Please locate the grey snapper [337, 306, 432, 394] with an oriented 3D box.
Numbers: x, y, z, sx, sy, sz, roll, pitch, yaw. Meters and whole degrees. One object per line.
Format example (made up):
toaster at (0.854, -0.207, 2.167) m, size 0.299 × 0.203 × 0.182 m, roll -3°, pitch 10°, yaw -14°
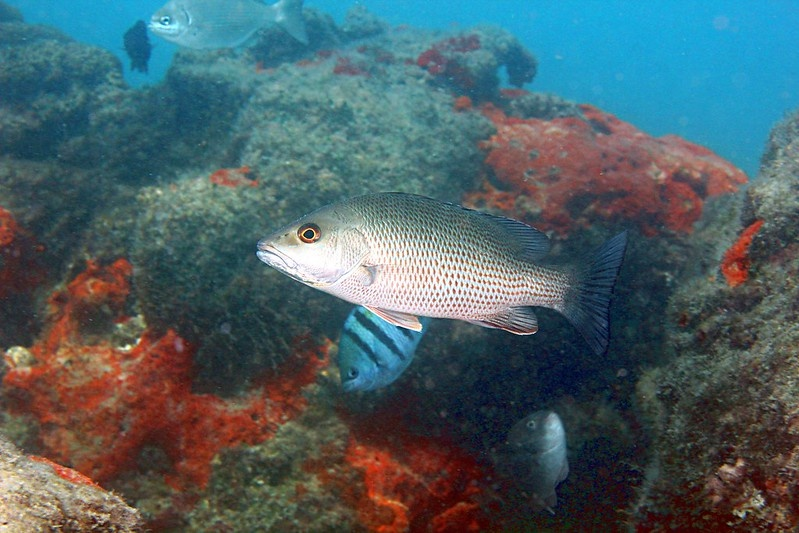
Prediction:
grey snapper at (-0.214, 1.104, 10.164) m, size 0.313 × 0.574 × 1.105 m, roll 40°, pitch 88°, yaw 27°
